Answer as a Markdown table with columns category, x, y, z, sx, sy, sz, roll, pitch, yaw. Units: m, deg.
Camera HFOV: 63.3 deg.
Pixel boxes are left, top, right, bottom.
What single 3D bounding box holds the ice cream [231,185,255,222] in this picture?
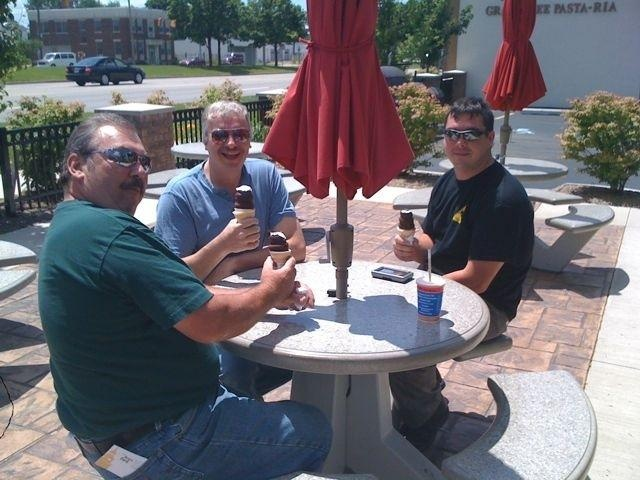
| category | x | y | z | sx | sy | sz | roll | pitch | yaw |
| --- | --- | --- | --- | --- | --- | --- | --- | --- | --- |
| ice cream | -0.430 | -0.197 | 2.986 | 0.142 | 0.205 | 0.126 | -4 | 15 | -16 |

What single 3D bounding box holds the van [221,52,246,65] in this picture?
| category | x | y | z | sx | sy | sz | roll | pitch | yaw |
| --- | --- | --- | --- | --- | --- | --- | --- | --- | --- |
| van | -14.368 | -30.074 | 87.811 | 4.015 | 2.206 | 2.502 | -4 | 47 | -9 |

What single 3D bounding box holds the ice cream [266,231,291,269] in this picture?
| category | x | y | z | sx | sy | sz | roll | pitch | yaw |
| --- | --- | --- | --- | --- | --- | --- | --- | --- | --- |
| ice cream | -0.211 | 0.063 | 2.743 | 0.120 | 0.223 | 0.127 | 3 | 21 | 16 |

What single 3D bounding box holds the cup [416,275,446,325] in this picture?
| category | x | y | z | sx | sy | sz | roll | pitch | yaw |
| --- | --- | --- | --- | --- | --- | --- | --- | --- | --- |
| cup | 0.589 | 0.296 | 2.778 | 0.129 | 0.242 | 0.232 | 2 | 16 | 14 |
